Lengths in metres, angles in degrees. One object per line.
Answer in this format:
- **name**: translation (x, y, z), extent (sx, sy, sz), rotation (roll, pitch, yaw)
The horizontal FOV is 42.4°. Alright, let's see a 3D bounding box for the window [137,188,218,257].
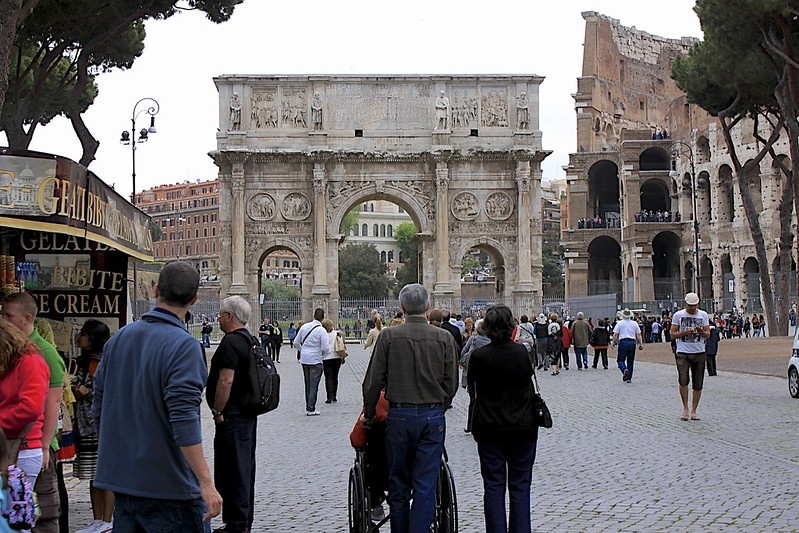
- **window**: translation (-22.921, -4.566, 109.348), extent (8.754, 8.475, 5.353), rotation (-2, -4, 28)

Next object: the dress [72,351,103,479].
- **dress**: translation (-4.571, 2.191, 14.726), extent (0.521, 1.802, 0.487), rotation (-6, -10, 40)

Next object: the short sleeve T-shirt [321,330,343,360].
- **short sleeve T-shirt**: translation (-1.582, 1.773, 23.105), extent (0.392, 0.734, 0.725), rotation (-2, -3, 36)

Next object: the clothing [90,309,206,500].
- **clothing**: translation (-2.841, 1.537, 11.518), extent (1.289, 2.140, 0.272), rotation (-2, -5, 10)

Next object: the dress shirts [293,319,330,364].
- **dress shirts**: translation (-1.975, 1.645, 22.730), extent (0.778, 0.952, 0.501), rotation (5, 5, 9)

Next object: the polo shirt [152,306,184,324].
- **polo shirt**: translation (-2.648, 0.562, 11.617), extent (0.253, 0.101, 0.218), rotation (24, 4, 13)

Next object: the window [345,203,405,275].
- **window**: translation (-3.004, -2.663, 113.792), extent (8.307, 8.015, 5.072), rotation (1, -3, -16)
